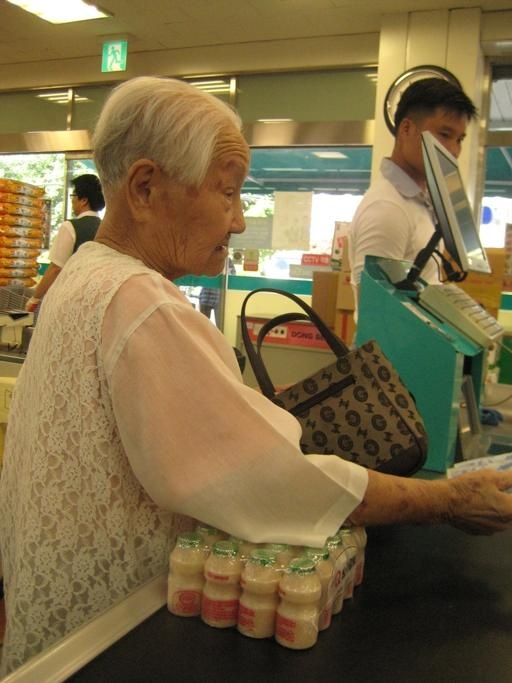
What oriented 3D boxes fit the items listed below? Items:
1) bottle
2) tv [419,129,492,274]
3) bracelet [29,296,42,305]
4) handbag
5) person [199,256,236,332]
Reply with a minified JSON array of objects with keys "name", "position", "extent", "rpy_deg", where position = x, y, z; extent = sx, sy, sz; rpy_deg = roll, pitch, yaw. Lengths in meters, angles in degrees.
[{"name":"bottle","position":[0.008,0.259,0.633],"extent":[0.117,0.052,0.151],"rpy_deg":[3,4,21]},{"name":"tv","position":[0.509,-0.365,1.474],"extent":[0.050,0.293,0.421],"rpy_deg":[-16,0,30]},{"name":"bracelet","position":[-1.360,-0.243,3.472],"extent":[0.084,0.060,0.112],"rpy_deg":[1,-3,-19]},{"name":"handbag","position":[0.148,0.125,0.936],"extent":[0.088,0.203,0.220],"rpy_deg":[-6,-22,-40]},{"name":"person","position":[-0.452,-0.417,5.877],"extent":[0.354,0.712,0.148],"rpy_deg":[7,24,7]}]
